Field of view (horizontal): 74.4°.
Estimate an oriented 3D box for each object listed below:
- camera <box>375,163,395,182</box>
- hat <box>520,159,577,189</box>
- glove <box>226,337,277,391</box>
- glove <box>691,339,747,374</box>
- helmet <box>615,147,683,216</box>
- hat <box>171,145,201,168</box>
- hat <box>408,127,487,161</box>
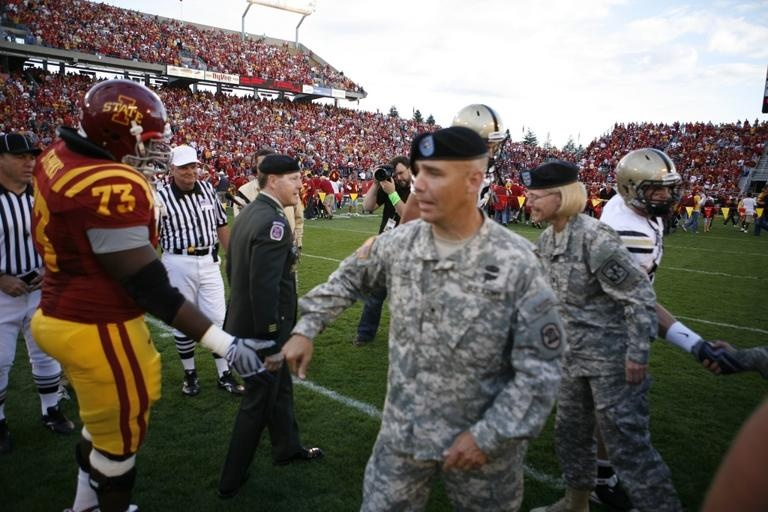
[{"bbox_3d":[-0.009,-0.902,5.510,0.176,0.125,0.197,0,-3,13],"label":"camera"},{"bbox_3d":[1.296,-0.601,3.841,0.303,0.124,0.241,-5,12,-21],"label":"hat"},{"bbox_3d":[-0.873,0.684,3.392,0.360,0.380,0.166,12,25,-1],"label":"glove"},{"bbox_3d":[2.170,0.668,3.309,0.279,0.212,0.210,13,16,30],"label":"glove"},{"bbox_3d":[2.015,-0.580,4.008,0.439,0.519,0.507,-12,17,-40],"label":"helmet"},{"bbox_3d":[-2.030,-0.987,5.145,0.234,0.213,0.457,-1,15,-22],"label":"hat"},{"bbox_3d":[0.376,-0.603,2.843,0.443,0.178,0.342,0,22,12],"label":"hat"}]
